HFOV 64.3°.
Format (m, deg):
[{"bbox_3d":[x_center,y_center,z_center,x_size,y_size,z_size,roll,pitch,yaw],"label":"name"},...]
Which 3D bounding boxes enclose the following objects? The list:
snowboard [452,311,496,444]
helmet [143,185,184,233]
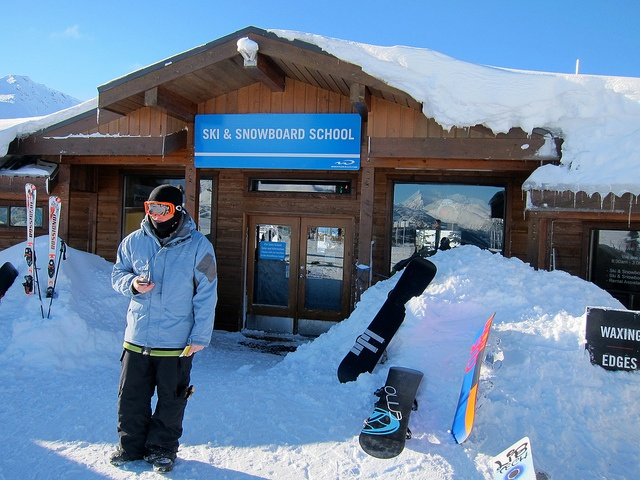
[{"bbox_3d":[1.799,1.410,5.652,0.175,1.648,0.386,28,-26,-26],"label":"snowboard"},{"bbox_3d":[-1.630,-0.276,5.121,0.275,0.401,0.298,4,-16,-29],"label":"helmet"}]
